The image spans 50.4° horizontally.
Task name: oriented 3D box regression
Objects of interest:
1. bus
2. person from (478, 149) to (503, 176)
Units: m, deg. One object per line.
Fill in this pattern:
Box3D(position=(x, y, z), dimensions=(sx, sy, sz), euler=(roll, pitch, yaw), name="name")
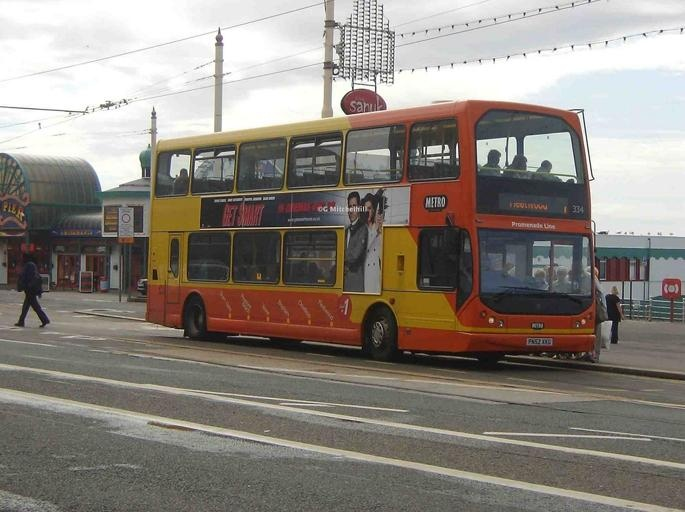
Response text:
Box3D(position=(-0.241, -0.394, 18.625), dimensions=(3.859, 5.392, 12.095), euler=(2, -1, -43), name="bus")
Box3D(position=(2.808, -1.953, 13.824), dimensions=(0.384, 0.564, 0.801), euler=(-1, 5, 7), name="person")
